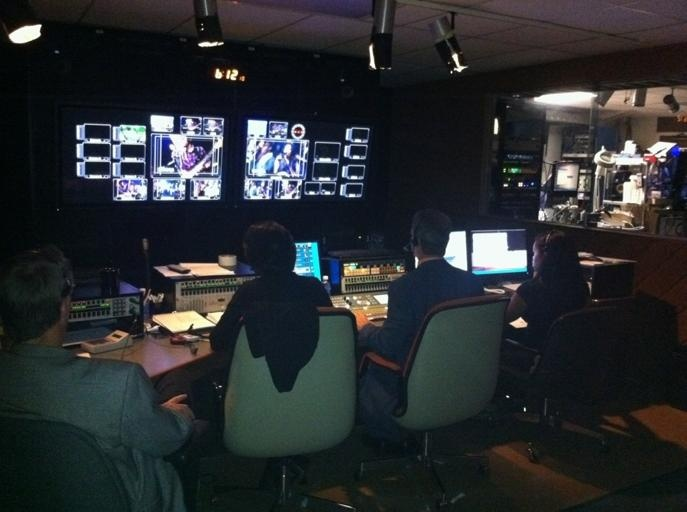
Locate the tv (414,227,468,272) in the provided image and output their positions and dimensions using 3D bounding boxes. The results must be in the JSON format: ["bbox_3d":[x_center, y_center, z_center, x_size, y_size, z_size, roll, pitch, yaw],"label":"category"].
[{"bbox_3d":[0.827,-0.007,4.686,0.449,0.040,0.573,4,36,6],"label":"tv"}]

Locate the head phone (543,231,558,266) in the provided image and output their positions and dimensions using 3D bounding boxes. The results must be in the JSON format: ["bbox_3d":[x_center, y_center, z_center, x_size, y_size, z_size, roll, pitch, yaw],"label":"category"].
[{"bbox_3d":[1.398,-0.067,3.700,0.075,0.170,0.134,10,12,26],"label":"head phone"}]

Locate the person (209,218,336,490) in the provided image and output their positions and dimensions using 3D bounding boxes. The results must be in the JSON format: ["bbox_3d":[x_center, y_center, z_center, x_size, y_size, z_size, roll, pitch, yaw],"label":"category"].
[{"bbox_3d":[-0.460,0.410,3.422,0.724,1.482,0.524,-18,45,-30],"label":"person"}]

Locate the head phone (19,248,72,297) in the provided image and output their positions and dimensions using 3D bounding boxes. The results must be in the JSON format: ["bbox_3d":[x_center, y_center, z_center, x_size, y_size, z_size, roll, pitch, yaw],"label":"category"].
[{"bbox_3d":[-1.211,0.055,2.272,0.163,0.203,0.113,-2,50,-26],"label":"head phone"}]

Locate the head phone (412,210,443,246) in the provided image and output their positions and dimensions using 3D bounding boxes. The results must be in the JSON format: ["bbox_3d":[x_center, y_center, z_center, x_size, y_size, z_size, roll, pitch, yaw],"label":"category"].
[{"bbox_3d":[0.526,-0.164,3.320,0.176,0.213,0.215,1,9,-31],"label":"head phone"}]

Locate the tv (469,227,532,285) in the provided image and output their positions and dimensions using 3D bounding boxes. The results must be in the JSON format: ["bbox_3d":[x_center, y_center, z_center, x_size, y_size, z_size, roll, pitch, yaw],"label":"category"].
[{"bbox_3d":[1.358,0.011,4.802,0.512,0.347,0.021,-2,2,-27],"label":"tv"}]

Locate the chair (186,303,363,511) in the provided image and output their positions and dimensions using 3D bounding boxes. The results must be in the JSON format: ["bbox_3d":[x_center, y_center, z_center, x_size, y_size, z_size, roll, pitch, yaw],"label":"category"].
[{"bbox_3d":[-0.242,0.687,2.835,0.767,1.048,0.739,0,13,-13],"label":"chair"}]

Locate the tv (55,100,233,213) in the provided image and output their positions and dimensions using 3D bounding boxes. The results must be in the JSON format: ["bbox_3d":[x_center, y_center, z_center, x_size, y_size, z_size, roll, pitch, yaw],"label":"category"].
[{"bbox_3d":[-1.716,-0.853,4.587,1.101,0.614,0.049,-1,16,-19],"label":"tv"}]

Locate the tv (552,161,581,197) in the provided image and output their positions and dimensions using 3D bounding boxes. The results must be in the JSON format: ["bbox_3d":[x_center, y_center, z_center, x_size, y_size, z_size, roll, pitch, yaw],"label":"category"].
[{"bbox_3d":[3.219,-1.099,7.945,0.067,0.615,0.541,-4,4,-30],"label":"tv"}]

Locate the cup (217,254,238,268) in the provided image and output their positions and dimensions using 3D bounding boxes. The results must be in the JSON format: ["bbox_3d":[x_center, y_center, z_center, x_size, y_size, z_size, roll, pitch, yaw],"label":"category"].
[{"bbox_3d":[-0.878,0.031,4.157,0.120,0.074,0.118,1,5,0],"label":"cup"}]
